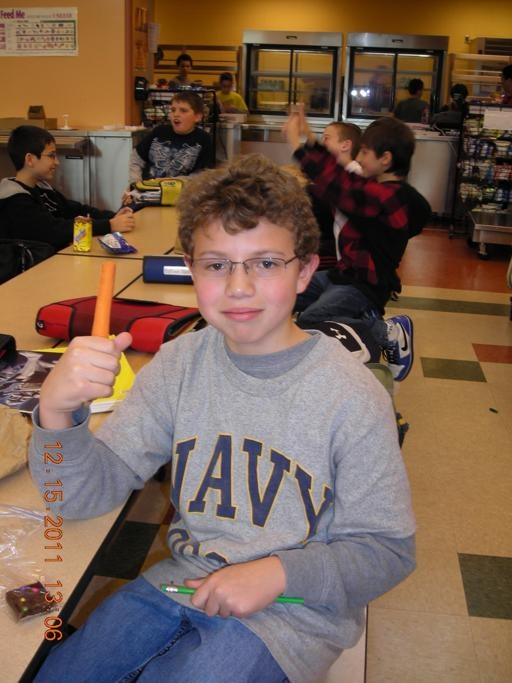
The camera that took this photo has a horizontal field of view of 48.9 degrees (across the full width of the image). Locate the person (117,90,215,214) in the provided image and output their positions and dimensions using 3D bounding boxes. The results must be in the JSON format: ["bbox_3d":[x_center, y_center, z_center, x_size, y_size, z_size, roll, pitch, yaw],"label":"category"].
[{"bbox_3d":[-0.741,-1.597,4.746,0.743,0.930,0.733,-4,33,-22],"label":"person"}]
